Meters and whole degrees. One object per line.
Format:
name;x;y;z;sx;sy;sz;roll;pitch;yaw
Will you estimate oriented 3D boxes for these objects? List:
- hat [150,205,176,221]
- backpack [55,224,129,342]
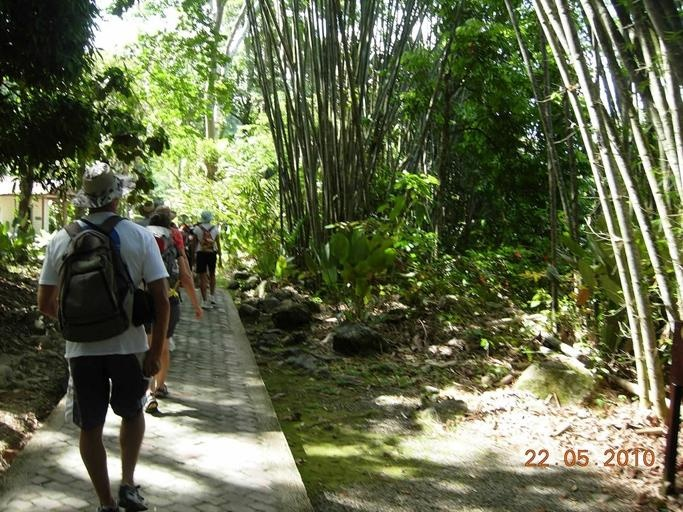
hat;-1.358;-0.341;3.811;0.149;0.057;0.135;15;12;29
backpack;-1.089;0.131;2.238;0.303;0.473;0.142;-3;9;-22
